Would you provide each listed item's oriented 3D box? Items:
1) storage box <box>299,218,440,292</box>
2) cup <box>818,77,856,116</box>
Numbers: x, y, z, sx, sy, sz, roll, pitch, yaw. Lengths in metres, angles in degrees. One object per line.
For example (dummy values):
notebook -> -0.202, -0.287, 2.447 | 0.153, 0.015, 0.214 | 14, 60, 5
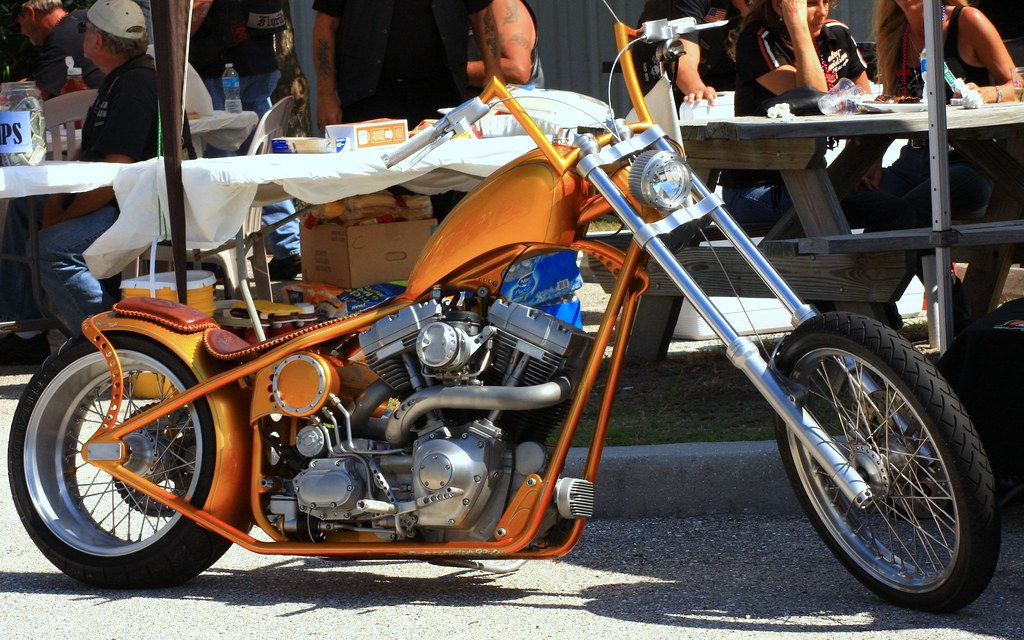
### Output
storage box -> -0.964, -0.426, 7.411 | 0.518, 0.350, 0.531 | 9, 18, 44
cup -> 1.861, -1.232, 6.751 | 0.205, 0.217, 0.197 | -16, 5, 1
